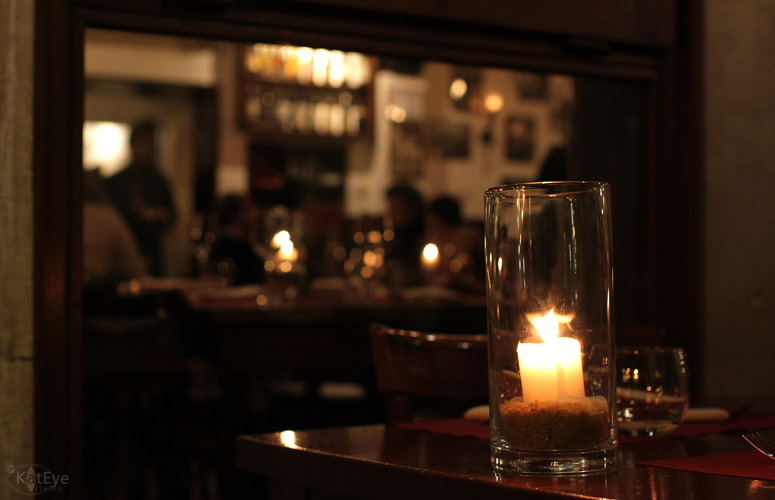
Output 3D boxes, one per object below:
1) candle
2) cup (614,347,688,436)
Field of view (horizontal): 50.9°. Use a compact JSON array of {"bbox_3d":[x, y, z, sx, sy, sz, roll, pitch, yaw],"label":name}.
[{"bbox_3d":[0.263,0.170,1.310,0.102,0.141,0.024,-2,7,5],"label":"candle"},{"bbox_3d":[0.507,0.261,1.582,0.156,0.151,0.173,-4,-6,31],"label":"cup"}]
